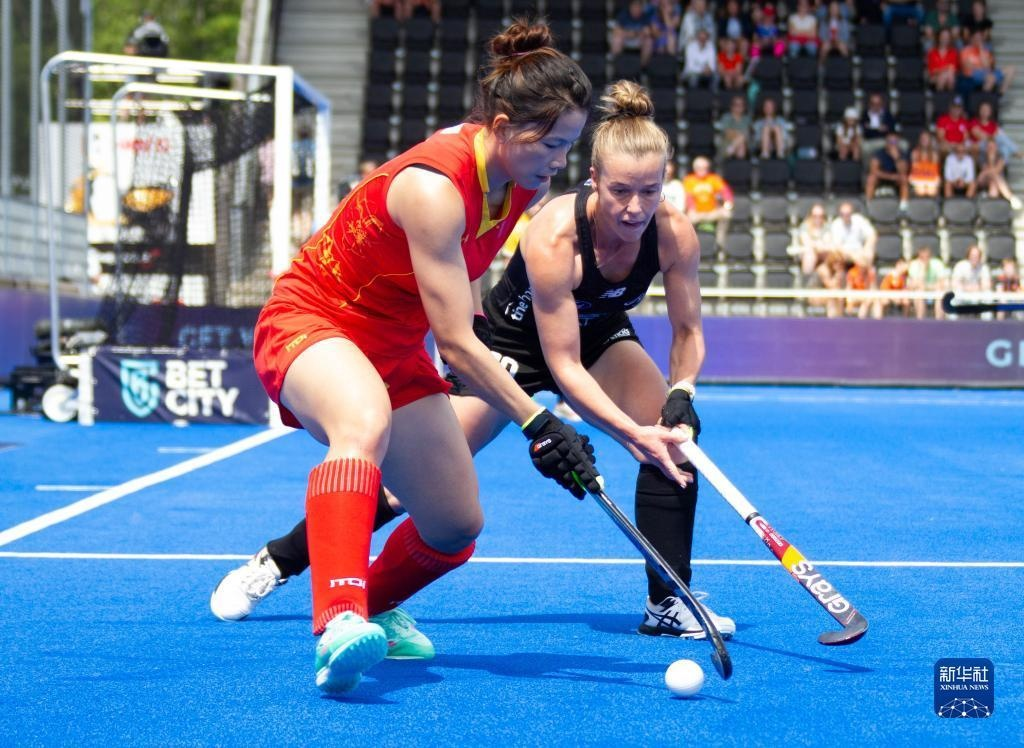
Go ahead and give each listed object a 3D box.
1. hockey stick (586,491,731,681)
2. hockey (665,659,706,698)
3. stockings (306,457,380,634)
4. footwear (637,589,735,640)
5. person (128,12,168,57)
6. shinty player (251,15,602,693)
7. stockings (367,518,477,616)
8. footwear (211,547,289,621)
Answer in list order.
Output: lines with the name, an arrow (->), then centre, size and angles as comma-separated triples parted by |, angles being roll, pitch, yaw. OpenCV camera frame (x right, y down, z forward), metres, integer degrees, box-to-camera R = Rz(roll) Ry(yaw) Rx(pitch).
hockey stick -> 0.716, 1.064, 7.802 | 0.088, 0.890, 0.198 | -35, -2, 21
hockey -> 0.769, 1.359, 7.157 | 0.183, 0.151, 0.131 | 3, 14, 12
stockings -> -0.769, 0.796, 7.053 | 0.271, 0.831, 0.301 | 2, -18, -9
footwear -> 0.849, 1.162, 7.663 | 0.433, 0.216, 0.196 | 0, -4, 9
person -> -3.282, -3.015, 14.356 | 0.419, 0.249, 0.711 | 14, 12, -14
shinty player -> -0.420, -0.115, 7.238 | 1.333, 2.903, 1.003 | -7, 15, -26
stockings -> -0.466, 0.918, 7.487 | 0.613, 0.311, 0.251 | -40, 23, 16
footwear -> -1.283, 1.040, 7.808 | 0.340, 0.125, 0.145 | -44, 22, -8
